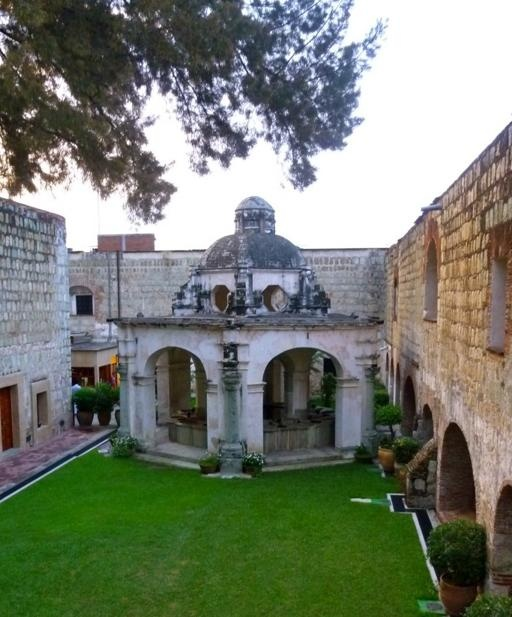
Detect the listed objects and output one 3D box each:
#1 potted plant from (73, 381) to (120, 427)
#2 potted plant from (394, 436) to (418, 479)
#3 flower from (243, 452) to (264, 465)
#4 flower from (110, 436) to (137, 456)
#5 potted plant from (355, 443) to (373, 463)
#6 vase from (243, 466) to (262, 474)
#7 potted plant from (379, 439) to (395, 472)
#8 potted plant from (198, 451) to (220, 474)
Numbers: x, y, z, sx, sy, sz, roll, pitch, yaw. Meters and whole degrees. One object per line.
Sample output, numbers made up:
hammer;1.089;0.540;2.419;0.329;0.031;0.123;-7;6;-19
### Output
potted plant;-5.560;3.292;19.989;1.428;1.805;1.222;2;-5;-30
potted plant;3.249;3.258;12.637;0.503;0.859;0.638;0;4;-11
flower;-0.049;3.503;13.392;0.268;0.226;0.281;3;5;31
flower;-3.544;3.693;15.350;0.722;0.476;0.500;0;0;5
potted plant;2.720;3.704;14.622;0.310;0.198;0.421;0;7;2
vase;-0.116;3.752;13.367;0.435;0.206;0.151;0;0;20
potted plant;3.084;3.530;13.687;0.516;0.763;0.602;1;1;2
potted plant;-1.098;3.709;13.602;0.475;0.374;0.403;0;0;-12
